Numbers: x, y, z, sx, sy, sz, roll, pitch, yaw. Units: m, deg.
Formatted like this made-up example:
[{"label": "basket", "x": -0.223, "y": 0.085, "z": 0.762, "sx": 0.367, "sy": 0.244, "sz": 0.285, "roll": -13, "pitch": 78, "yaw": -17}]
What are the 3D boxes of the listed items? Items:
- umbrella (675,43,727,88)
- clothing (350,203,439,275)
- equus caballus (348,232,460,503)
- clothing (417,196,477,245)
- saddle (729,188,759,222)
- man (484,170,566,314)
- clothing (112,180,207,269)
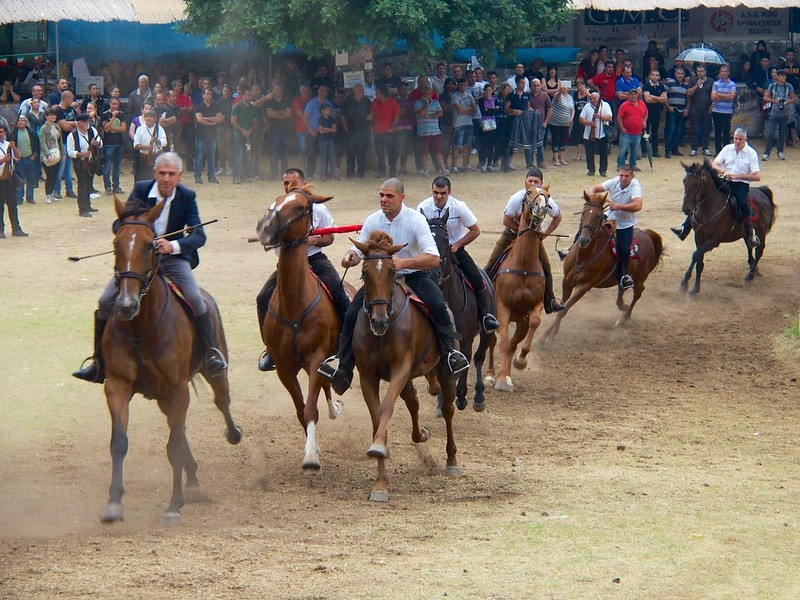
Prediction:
[{"label": "umbrella", "x": 8.928, "y": -7.009, "z": 40.649, "sx": 1.310, "sy": 1.091, "sz": 1.330, "roll": -1, "pitch": -4, "yaw": -17}, {"label": "clothing", "x": -0.026, "y": -1.189, "z": 22.625, "sx": 1.420, "sy": 1.185, "sz": 1.080, "roll": 0, "pitch": 17, "yaw": 14}, {"label": "equus caballus", "x": -0.002, "y": 0.983, "z": 22.279, "sx": 1.010, "sy": 4.214, "sz": 1.858, "roll": 8, "pitch": 13, "yaw": 39}, {"label": "clothing", "x": 0.839, "y": -1.387, "z": 24.734, "sx": 1.048, "sy": 0.888, "sz": 0.659, "roll": -9, "pitch": 17, "yaw": -1}, {"label": "saddle", "x": 7.812, "y": -2.093, "z": 31.189, "sx": 0.602, "sy": 0.621, "sz": 0.198, "roll": -2, "pitch": -6, "yaw": -5}, {"label": "man", "x": 2.376, "y": -1.229, "z": 26.810, "sx": 1.756, "sy": 3.122, "sz": 1.056, "roll": 6, "pitch": 27, "yaw": 8}, {"label": "clothing", "x": -3.785, "y": -1.145, "z": 22.200, "sx": 1.236, "sy": 1.584, "sz": 1.093, "roll": 6, "pitch": 2, "yaw": -9}]
